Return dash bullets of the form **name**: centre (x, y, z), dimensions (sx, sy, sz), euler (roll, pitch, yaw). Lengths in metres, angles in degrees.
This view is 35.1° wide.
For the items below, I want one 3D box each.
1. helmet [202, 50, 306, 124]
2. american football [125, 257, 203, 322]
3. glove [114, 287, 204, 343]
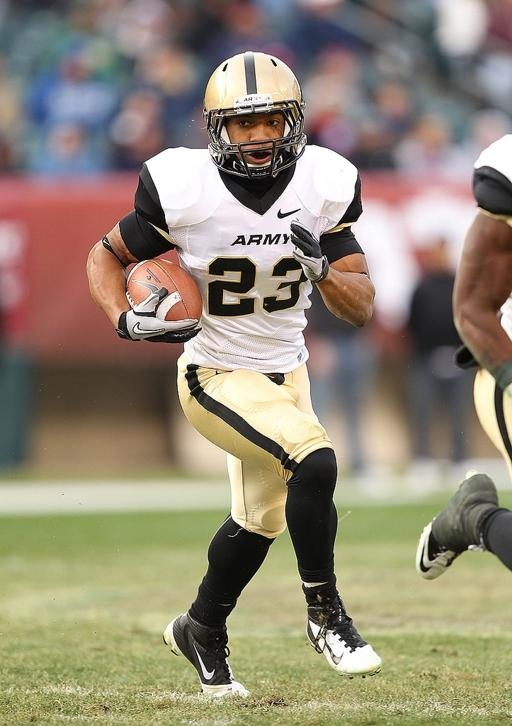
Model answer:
- **helmet**: centre (-0.011, -0.645, 2.063), dimensions (0.208, 0.236, 0.183), euler (-7, 61, -10)
- **american football**: centre (-0.221, -0.157, 1.982), dimensions (0.157, 0.108, 0.175), euler (-7, 48, -36)
- **glove**: centre (-0.221, -0.106, 1.932), dimensions (0.178, 0.080, 0.117), euler (-11, 53, -31)
